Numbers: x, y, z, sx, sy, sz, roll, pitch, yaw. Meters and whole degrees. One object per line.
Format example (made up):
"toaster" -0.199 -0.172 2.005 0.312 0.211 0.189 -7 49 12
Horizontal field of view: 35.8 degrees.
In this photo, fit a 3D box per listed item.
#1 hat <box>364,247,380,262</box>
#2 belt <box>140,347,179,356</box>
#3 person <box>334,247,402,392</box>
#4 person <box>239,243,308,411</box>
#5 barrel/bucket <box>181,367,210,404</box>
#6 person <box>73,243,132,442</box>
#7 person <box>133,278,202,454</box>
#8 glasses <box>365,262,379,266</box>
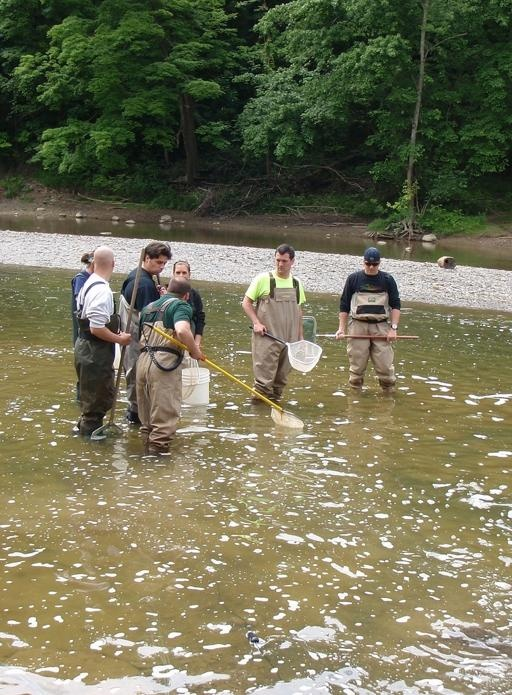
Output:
"hat" 1.188 -0.962 8.184 0.141 0.100 0.170 2 46 6
"belt" -0.797 0.020 6.301 0.380 0.070 0.135 4 8 33
"person" 1.204 -0.281 8.523 0.634 1.548 0.781 1 8 7
"person" 0.176 -0.216 7.985 0.595 1.624 0.611 0 8 2
"barrel/bucket" -0.625 0.370 8.115 0.396 0.328 0.359 -3 12 -20
"person" -1.285 -0.016 6.582 0.433 1.630 0.775 -2 8 -13
"person" -0.690 0.156 6.340 0.446 1.417 0.770 -4 9 -27
"glasses" 1.192 -0.870 8.216 0.133 0.056 0.179 1 7 7
